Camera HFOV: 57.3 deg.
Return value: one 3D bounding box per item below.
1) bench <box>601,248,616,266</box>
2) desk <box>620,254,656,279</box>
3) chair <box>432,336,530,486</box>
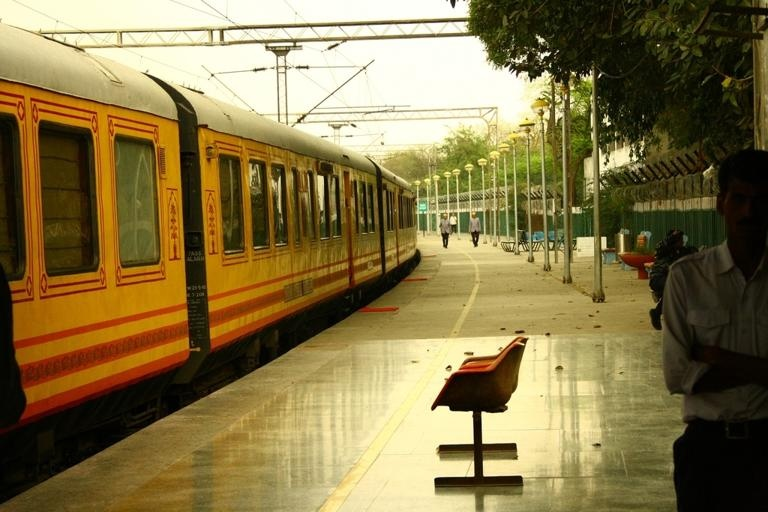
[{"bbox_3d":[10.376,0.002,32.367,0.613,0.800,1.198,0,3,27],"label":"bench"},{"bbox_3d":[9.019,0.290,25.036,0.950,0.650,1.006,1,-1,18],"label":"desk"},{"bbox_3d":[0.950,1.235,7.016,1.073,1.554,1.711,1,-3,6],"label":"chair"}]
